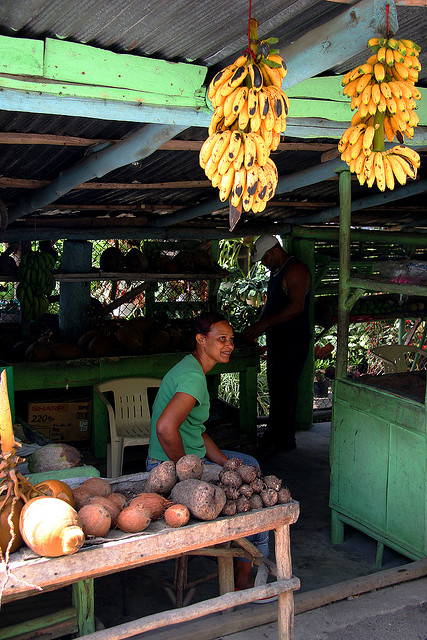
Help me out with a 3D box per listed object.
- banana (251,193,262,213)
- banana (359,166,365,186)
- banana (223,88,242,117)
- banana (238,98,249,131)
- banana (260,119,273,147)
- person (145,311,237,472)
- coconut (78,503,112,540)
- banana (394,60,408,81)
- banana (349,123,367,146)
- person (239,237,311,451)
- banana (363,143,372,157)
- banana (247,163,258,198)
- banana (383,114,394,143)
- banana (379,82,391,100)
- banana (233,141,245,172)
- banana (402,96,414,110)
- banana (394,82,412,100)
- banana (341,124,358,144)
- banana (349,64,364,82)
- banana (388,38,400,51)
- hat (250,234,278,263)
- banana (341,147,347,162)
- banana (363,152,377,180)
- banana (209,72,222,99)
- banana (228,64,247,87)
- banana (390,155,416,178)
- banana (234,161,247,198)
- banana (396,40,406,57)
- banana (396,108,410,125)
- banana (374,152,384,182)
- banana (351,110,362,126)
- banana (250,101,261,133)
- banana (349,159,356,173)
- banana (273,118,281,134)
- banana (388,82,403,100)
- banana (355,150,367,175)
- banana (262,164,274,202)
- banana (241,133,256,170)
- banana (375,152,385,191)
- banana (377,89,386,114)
[{"bbox_3d":[0.135,-0.363,1.531,0.041,0.068,0.017,12,13,16],"label":"banana"},{"bbox_3d":[0.610,-0.603,2.025,0.027,0.088,0.025,1,-8,8],"label":"banana"},{"bbox_3d":[0.058,-0.645,1.478,0.028,0.101,0.033,19,-1,3],"label":"banana"},{"bbox_3d":[0.088,-0.606,1.434,0.023,0.082,0.025,10,1,7],"label":"banana"},{"bbox_3d":[0.162,-0.571,1.511,0.025,0.089,0.030,-5,4,7],"label":"banana"},{"bbox_3d":[-0.102,0.374,2.478,0.460,0.798,0.746,0,6,-6],"label":"person"},{"bbox_3d":[-0.310,0.531,1.295,0.084,0.099,0.083,1,-15,-6],"label":"coconut"},{"bbox_3d":[0.687,-0.924,1.804,0.027,0.096,0.032,-22,9,-6],"label":"banana"},{"bbox_3d":[0.580,-0.765,2.019,0.034,0.123,0.042,24,-11,42],"label":"banana"},{"bbox_3d":[0.667,0.267,5.428,0.745,2.299,1.045,2,6,6],"label":"person"},{"bbox_3d":[0.608,-0.673,1.926,0.029,0.009,0.038,5,-40,3],"label":"banana"},{"bbox_3d":[0.114,-0.413,1.460,0.028,0.104,0.034,8,-14,-15],"label":"banana"},{"bbox_3d":[0.702,-0.775,1.986,0.037,0.135,0.040,-15,17,-38],"label":"banana"},{"bbox_3d":[0.632,-0.845,1.798,0.041,0.059,0.029,-1,6,-21],"label":"banana"},{"bbox_3d":[0.076,-0.479,1.436,0.024,0.087,0.026,16,-12,-17],"label":"banana"},{"bbox_3d":[0.725,-0.813,1.847,0.029,0.055,0.019,-33,20,-21],"label":"banana"},{"bbox_3d":[0.698,-0.854,1.837,0.028,0.100,0.033,-30,-26,17],"label":"banana"},{"bbox_3d":[0.558,-0.777,2.041,0.028,0.084,0.024,29,6,-28],"label":"banana"},{"bbox_3d":[0.559,-0.976,1.940,0.022,0.074,0.022,38,-4,-17],"label":"banana"},{"bbox_3d":[0.630,-0.970,1.726,0.036,0.033,0.091,3,6,19],"label":"banana"},{"bbox_3d":[0.498,-0.761,5.088,0.158,0.308,0.200,49,-8,-21],"label":"hat"},{"bbox_3d":[0.565,-0.730,2.153,0.023,0.075,0.022,9,-25,18],"label":"banana"},{"bbox_3d":[0.622,-0.620,1.956,0.027,0.098,0.032,11,-6,24],"label":"banana"},{"bbox_3d":[0.004,-0.749,1.560,0.021,0.075,0.022,21,22,13],"label":"banana"},{"bbox_3d":[0.071,-0.732,1.465,0.056,0.071,0.026,0,6,-15],"label":"banana"},{"bbox_3d":[0.765,-0.632,2.000,0.045,0.135,0.036,-44,5,-28],"label":"banana"},{"bbox_3d":[0.078,-0.408,1.443,0.031,0.115,0.038,12,-16,-19],"label":"banana"},{"bbox_3d":[0.668,-0.975,1.758,0.023,0.073,0.022,-6,-15,6],"label":"banana"},{"bbox_3d":[0.706,-0.771,1.853,0.022,0.082,0.028,-27,-21,25],"label":"banana"},{"bbox_3d":[0.646,-0.603,1.922,0.032,0.113,0.032,-1,-7,14],"label":"banana"},{"bbox_3d":[0.576,-0.825,1.999,0.018,0.062,0.022,26,22,18],"label":"banana"},{"bbox_3d":[0.124,-0.600,1.437,0.021,0.074,0.024,7,-5,-29],"label":"banana"},{"bbox_3d":[0.587,-0.654,2.084,0.018,0.060,0.017,-13,-41,21],"label":"banana"},{"bbox_3d":[0.201,-0.615,1.563,0.029,0.049,0.015,1,-13,-35],"label":"banana"},{"bbox_3d":[0.668,-0.852,1.807,0.027,0.090,0.026,-29,-25,24],"label":"banana"},{"bbox_3d":[0.596,-0.646,2.009,0.027,0.099,0.033,10,-8,37],"label":"banana"},{"bbox_3d":[0.169,-0.427,1.540,0.030,0.110,0.065,-1,-4,44],"label":"banana"},{"bbox_3d":[0.102,-0.504,1.447,0.044,0.115,0.065,1,6,4],"label":"banana"},{"bbox_3d":[0.649,-0.583,1.925,0.034,0.142,0.044,-10,-5,41],"label":"banana"},{"bbox_3d":[0.615,-0.805,1.799,0.024,0.078,0.022,2,-9,-31],"label":"banana"}]
